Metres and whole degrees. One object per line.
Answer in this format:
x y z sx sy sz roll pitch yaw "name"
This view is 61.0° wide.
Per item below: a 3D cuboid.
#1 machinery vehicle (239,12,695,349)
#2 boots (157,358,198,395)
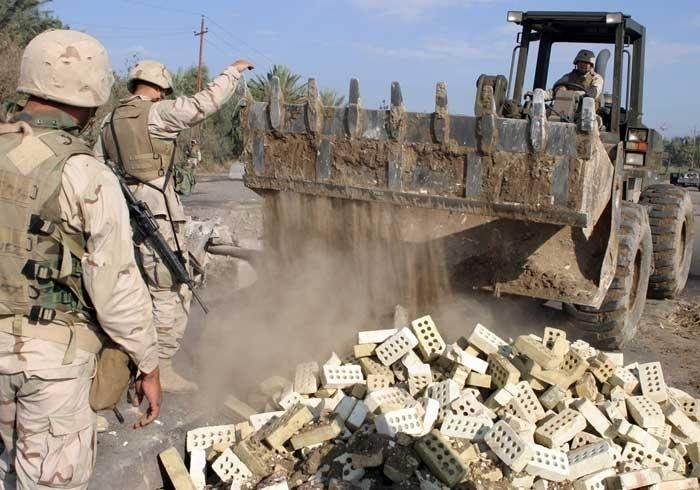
1.751 -0.605 6.426 2.589 3.276 4.808 5 8 26 "machinery vehicle"
-1.265 0.955 4.445 0.367 0.283 0.131 11 14 -16 "boots"
